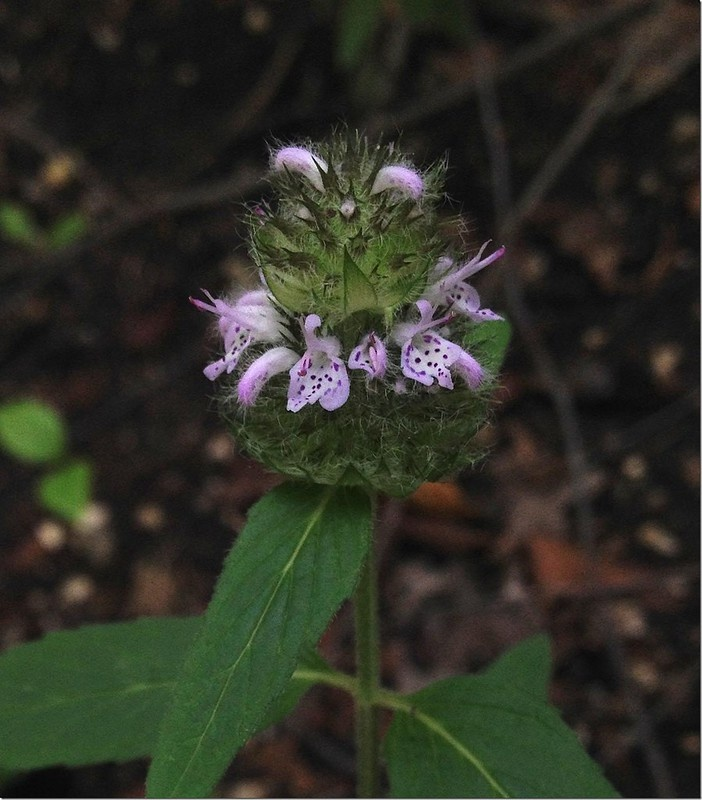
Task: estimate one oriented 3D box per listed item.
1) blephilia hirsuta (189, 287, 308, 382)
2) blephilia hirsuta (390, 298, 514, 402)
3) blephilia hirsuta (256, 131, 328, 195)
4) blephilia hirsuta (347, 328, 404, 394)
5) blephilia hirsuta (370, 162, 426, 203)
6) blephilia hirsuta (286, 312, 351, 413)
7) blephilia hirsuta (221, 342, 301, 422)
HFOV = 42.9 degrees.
[{"bbox_3d":[-0.315,-0.186,2.516,0.289,0.257,0.121,-52,-3,0],"label":"blephilia hirsuta"},{"bbox_3d":[0.205,-0.122,2.319,0.123,0.289,0.233,-7,40,48],"label":"blephilia hirsuta"},{"bbox_3d":[-0.141,-0.640,2.423,0.109,0.224,0.082,-53,-23,-41],"label":"blephilia hirsuta"},{"bbox_3d":[0.058,-0.100,2.320,0.155,0.142,0.066,-14,15,-5],"label":"blephilia hirsuta"},{"bbox_3d":[0.132,-0.578,2.384,0.153,0.076,0.055,0,39,34],"label":"blephilia hirsuta"},{"bbox_3d":[-0.074,-0.093,2.268,0.192,0.241,0.082,1,-28,-3],"label":"blephilia hirsuta"},{"bbox_3d":[-0.235,-0.070,2.435,0.210,0.117,0.077,-44,6,-8],"label":"blephilia hirsuta"}]
